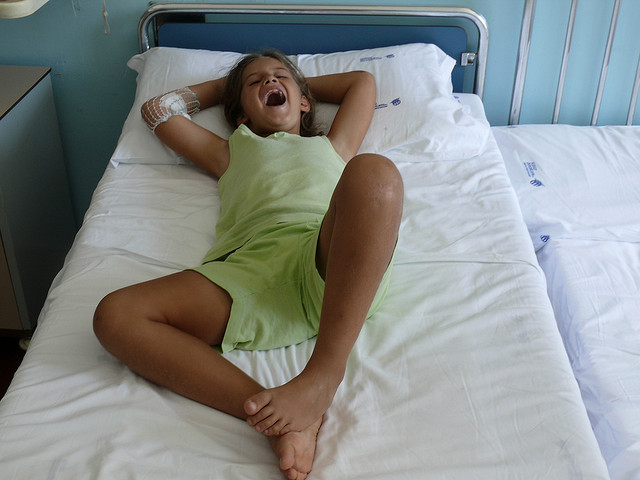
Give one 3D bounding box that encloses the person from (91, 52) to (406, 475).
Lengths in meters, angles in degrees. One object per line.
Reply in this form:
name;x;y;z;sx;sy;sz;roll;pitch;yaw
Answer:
person;-0.153;0.033;1.461;0.656;0.526;1.287;9;41;-1
